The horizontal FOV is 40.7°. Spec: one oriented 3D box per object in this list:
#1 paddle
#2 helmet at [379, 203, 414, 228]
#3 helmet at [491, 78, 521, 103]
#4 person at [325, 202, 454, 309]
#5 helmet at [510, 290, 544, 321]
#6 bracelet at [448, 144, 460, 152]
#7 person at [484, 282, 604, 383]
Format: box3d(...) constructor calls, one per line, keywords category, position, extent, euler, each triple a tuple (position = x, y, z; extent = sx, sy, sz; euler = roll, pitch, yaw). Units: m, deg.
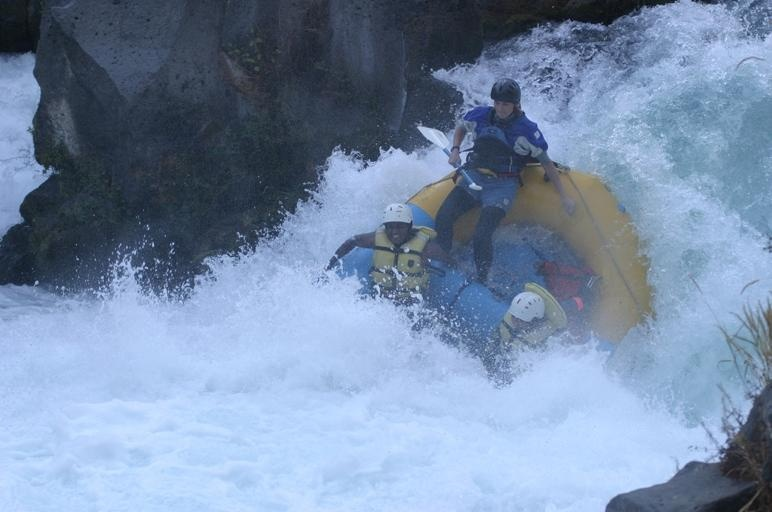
box3d(category="paddle", position=(0.877, -1.410, 14.641), extent=(0.461, 0.109, 1.510), euler=(-29, 57, -5))
box3d(category="helmet", position=(0.155, -0.549, 14.267), extent=(0.387, 0.253, 0.297), euler=(5, 29, 2))
box3d(category="helmet", position=(1.618, -2.208, 14.141), extent=(0.291, 0.358, 0.381), euler=(7, -15, 19))
box3d(category="person", position=(0.118, -0.031, 14.312), extent=(1.462, 1.204, 0.659), euler=(7, 29, 6))
box3d(category="helmet", position=(1.854, 0.691, 13.961), extent=(0.429, 0.344, 0.321), euler=(5, 42, -13))
box3d(category="bracelet", position=(0.960, -1.520, 14.673), extent=(0.175, 0.093, 0.232), euler=(-3, 1, 10))
box3d(category="person", position=(2.069, 0.958, 14.112), extent=(0.667, 1.496, 0.823), euler=(16, 25, -51))
